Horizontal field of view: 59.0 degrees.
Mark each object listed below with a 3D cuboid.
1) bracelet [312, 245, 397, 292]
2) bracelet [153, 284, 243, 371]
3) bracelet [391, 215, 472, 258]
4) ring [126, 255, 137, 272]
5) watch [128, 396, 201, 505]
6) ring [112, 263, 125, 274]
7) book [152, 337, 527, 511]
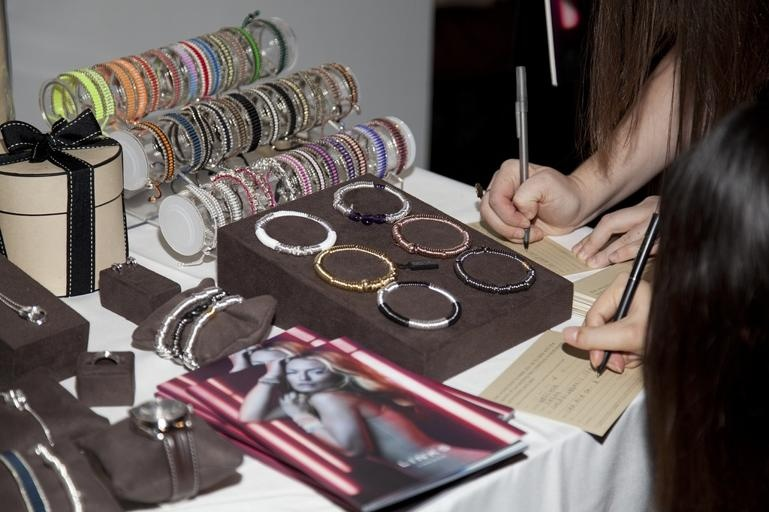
[{"bbox_3d":[-0.046,0.022,1.126,0.101,0.020,0.087,8,27,1],"label":"bracelet"},{"bbox_3d":[-0.284,0.100,1.093,0.098,0.050,0.134,-1,38,34],"label":"bracelet"},{"bbox_3d":[0.088,-0.030,1.221,0.105,0.022,0.091,-8,36,-31],"label":"bracelet"},{"bbox_3d":[-0.433,0.014,1.170,0.021,0.021,0.022,-4,3,0],"label":"ring"},{"bbox_3d":[-0.258,0.232,0.825,0.069,0.112,0.083,-18,39,-19],"label":"watch"},{"bbox_3d":[-0.455,0.022,1.163,0.014,0.010,0.019,0,4,1],"label":"ring"},{"bbox_3d":[-0.059,0.208,0.902,0.303,0.034,0.234,28,35,32],"label":"book"}]
